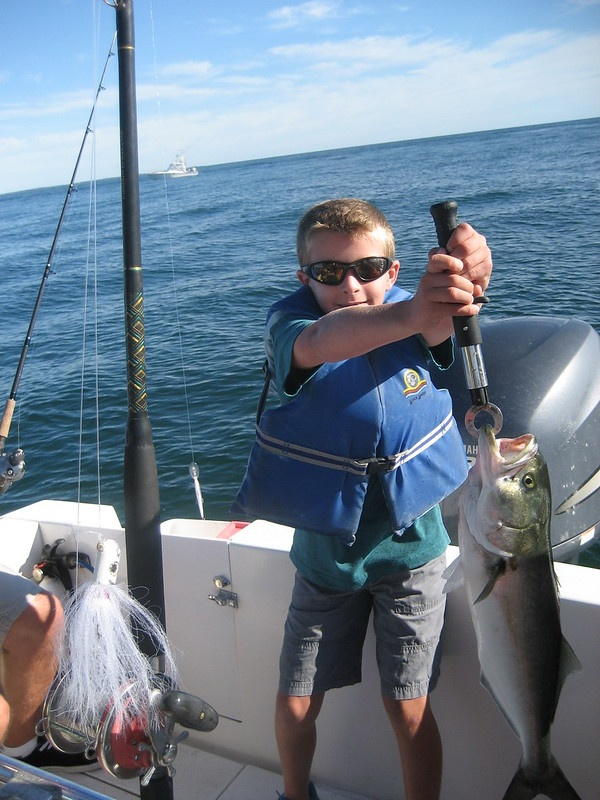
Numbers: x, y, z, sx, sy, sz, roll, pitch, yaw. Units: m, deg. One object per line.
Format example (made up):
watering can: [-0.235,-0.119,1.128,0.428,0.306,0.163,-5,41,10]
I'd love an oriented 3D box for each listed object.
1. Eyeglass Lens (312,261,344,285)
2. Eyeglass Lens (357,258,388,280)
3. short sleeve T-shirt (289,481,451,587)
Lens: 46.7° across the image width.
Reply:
Eyeglass Lens: [0.066,-0.294,1.621,0.066,0.020,0.063,1,18,8]
Eyeglass Lens: [0.170,-0.301,1.622,0.096,0.059,0.025,-9,13,-33]
short sleeve T-shirt: [0.176,0.332,1.715,0.292,0.233,0.166,-11,12,-16]
